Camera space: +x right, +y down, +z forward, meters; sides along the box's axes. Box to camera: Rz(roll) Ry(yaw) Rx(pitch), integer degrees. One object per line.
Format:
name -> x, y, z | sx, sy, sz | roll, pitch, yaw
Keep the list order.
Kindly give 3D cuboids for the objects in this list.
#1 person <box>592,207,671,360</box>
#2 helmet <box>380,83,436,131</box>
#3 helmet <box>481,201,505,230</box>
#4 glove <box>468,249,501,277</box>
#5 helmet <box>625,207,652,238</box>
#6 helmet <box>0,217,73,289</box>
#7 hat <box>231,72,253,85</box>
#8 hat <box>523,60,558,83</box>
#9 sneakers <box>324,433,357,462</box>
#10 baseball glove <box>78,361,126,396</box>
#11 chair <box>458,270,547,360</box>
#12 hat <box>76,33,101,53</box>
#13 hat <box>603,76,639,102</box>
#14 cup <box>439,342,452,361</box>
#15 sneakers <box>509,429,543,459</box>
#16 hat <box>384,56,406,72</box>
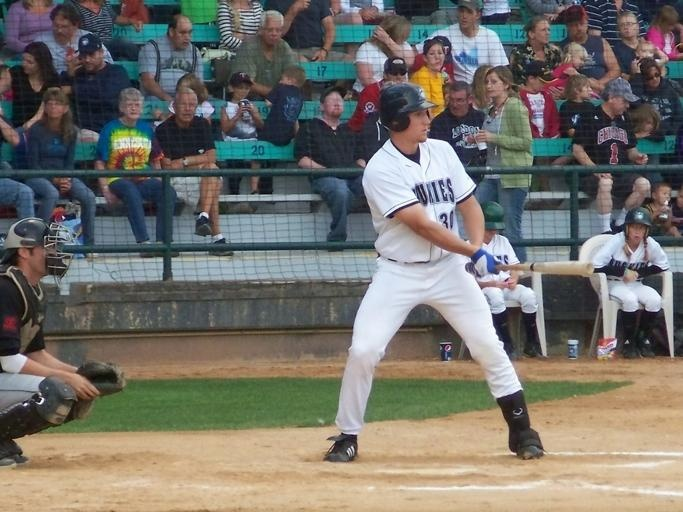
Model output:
person -> 3.058, 0.260, 21.316 | 0.782, 1.554, 0.368 | 0, 0, 4
helmet -> 0.580, -1.359, 18.112 | 0.467, 0.364, 0.373 | -6, 6, 12
helmet -> 1.585, -0.436, 21.060 | 0.216, 0.191, 0.301 | -2, 9, -43
glove -> 1.259, 0.025, 17.962 | 0.248, 0.221, 0.300 | 0, 0, 6
helmet -> 3.126, -0.394, 21.262 | 0.254, 0.273, 0.286 | 3, -2, -2
helmet -> -2.753, -0.097, 18.130 | 0.634, 0.552, 0.476 | -6, 3, -16
hat -> -1.151, -1.970, 22.220 | 0.254, 0.138, 0.144 | -1, 0, -11
hat -> 2.219, -2.093, 22.644 | 0.297, 0.170, 0.207 | -2, 25, -2
sneakers -> -0.031, 1.680, 17.911 | 0.316, 0.254, 0.223 | -1, 0, -5
baseball glove -> -2.186, 1.071, 17.893 | 0.350, 0.318, 0.150 | 1, 27, 1
chair -> 1.714, 0.583, 21.082 | 0.860, 1.474, 0.826 | 0, -3, -4
hat -> -2.793, -2.326, 21.927 | 0.262, 0.225, 0.219 | -1, 0, -11
hat -> 3.105, -1.867, 22.510 | 0.280, 0.253, 0.544 | 0, 0, 21
cup -> 1.057, 0.974, 21.116 | 0.162, 0.169, 0.166 | 0, -5, 0
sneakers -> 1.627, 1.651, 17.887 | 0.303, 0.263, 0.165 | 0, 0, 6
hat -> 0.552, -2.070, 21.781 | 0.241, 0.195, 0.202 | 0, 0, 0
